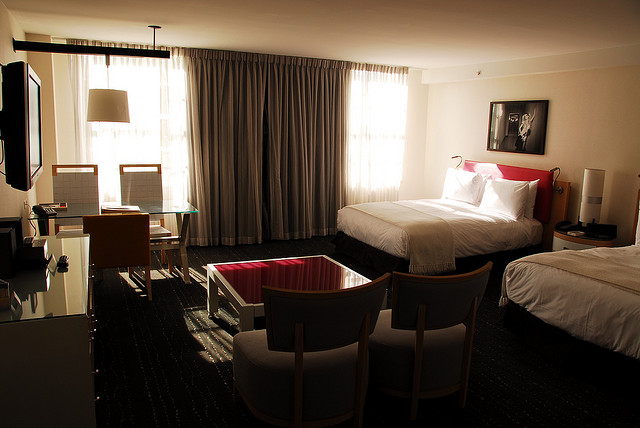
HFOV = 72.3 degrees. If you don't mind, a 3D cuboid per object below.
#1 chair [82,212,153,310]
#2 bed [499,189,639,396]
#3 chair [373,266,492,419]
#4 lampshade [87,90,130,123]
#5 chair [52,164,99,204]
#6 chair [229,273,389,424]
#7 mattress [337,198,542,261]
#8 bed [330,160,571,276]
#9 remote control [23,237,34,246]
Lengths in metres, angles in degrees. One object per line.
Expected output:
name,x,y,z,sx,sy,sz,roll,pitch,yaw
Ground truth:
chair,-2.228,0.414,4.878,0.633,1.011,0.687,-3,15,-26
bed,2.429,0.868,3.975,1.259,0.870,0.864,-4,10,-22
chair,0.809,0.948,3.341,0.809,1.176,0.430,-3,11,-16
lampshade,-2.527,-1.289,5.288,0.387,0.312,0.404,3,10,15
chair,-3.005,-0.365,5.377,0.435,0.580,0.286,-3,16,-24
chair,-0.108,0.854,3.405,0.999,1.136,1.045,-2,17,-19
mattress,1.771,0.194,5.642,1.311,0.316,1.311,-7,11,-31
bed,1.778,-0.040,6.445,2.668,1.315,2.183,-6,13,-25
remote control,-2.169,0.198,3.262,0.065,0.017,0.067,-10,19,-41
